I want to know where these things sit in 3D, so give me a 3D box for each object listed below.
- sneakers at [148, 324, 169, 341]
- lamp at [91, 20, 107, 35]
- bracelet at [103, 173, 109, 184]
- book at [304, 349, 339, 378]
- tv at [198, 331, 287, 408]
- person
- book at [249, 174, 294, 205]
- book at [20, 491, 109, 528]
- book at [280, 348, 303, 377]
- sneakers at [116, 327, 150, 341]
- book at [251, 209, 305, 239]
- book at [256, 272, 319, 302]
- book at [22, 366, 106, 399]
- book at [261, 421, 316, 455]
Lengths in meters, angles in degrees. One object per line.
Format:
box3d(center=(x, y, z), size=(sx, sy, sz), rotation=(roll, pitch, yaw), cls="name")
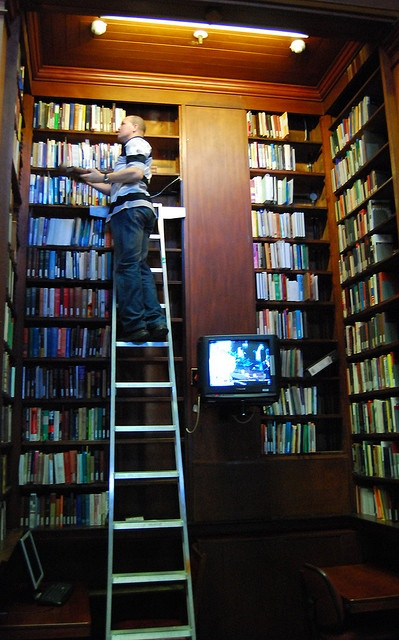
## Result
box3d(center=(-0.233, 0.070, 3.073), size=(0.061, 0.079, 0.164), rotation=(5, -31, -23), cls="sneakers")
box3d(center=(-0.629, -1.804, 3.398), size=(0.062, 0.079, 0.063), rotation=(-1, 7, -8), cls="lamp")
box3d(center=(-0.526, -0.793, 3.093), size=(0.019, 0.067, 0.025), rotation=(-2, -9, -39), cls="bracelet")
box3d(center=(0.803, 0.283, 3.607), size=(0.179, 0.042, 0.181), rotation=(-28, -18, -27), cls="book")
box3d(center=(0.199, 0.261, 3.082), size=(0.558, 0.526, 0.339), rotation=(0, -18, -3), cls="tv")
box3d(center=(-0.455, -0.577, 3.243), size=(0.469, 1.395, 0.431), rotation=(-2, -9, -3), cls="person")
box3d(center=(0.492, -0.900, 3.819), size=(0.255, 0.270, 0.212), rotation=(1, -3, -8), cls="book")
box3d(center=(-0.768, 1.073, 3.133), size=(0.476, 0.190, 0.112), rotation=(0, -9, -10), cls="book")
box3d(center=(0.588, 0.279, 3.609), size=(0.166, 0.256, 0.176), rotation=(0, -6, -2), cls="book")
box3d(center=(-0.362, 0.085, 2.957), size=(0.175, 0.075, 0.145), rotation=(-2, -9, -2), cls="sneakers")
box3d(center=(0.530, -0.663, 3.776), size=(0.367, 0.199, 0.066), rotation=(-1, -9, -5), cls="book")
box3d(center=(0.577, -0.227, 3.694), size=(0.421, 0.204, 0.067), rotation=(-1, -9, -7), cls="book")
box3d(center=(-0.824, 0.368, 3.287), size=(0.518, 0.183, 0.242), rotation=(0, 7, -6), cls="book")
box3d(center=(0.554, 0.745, 3.466), size=(0.338, 0.192, 0.238), rotation=(-1, 1, -3), cls="book")
